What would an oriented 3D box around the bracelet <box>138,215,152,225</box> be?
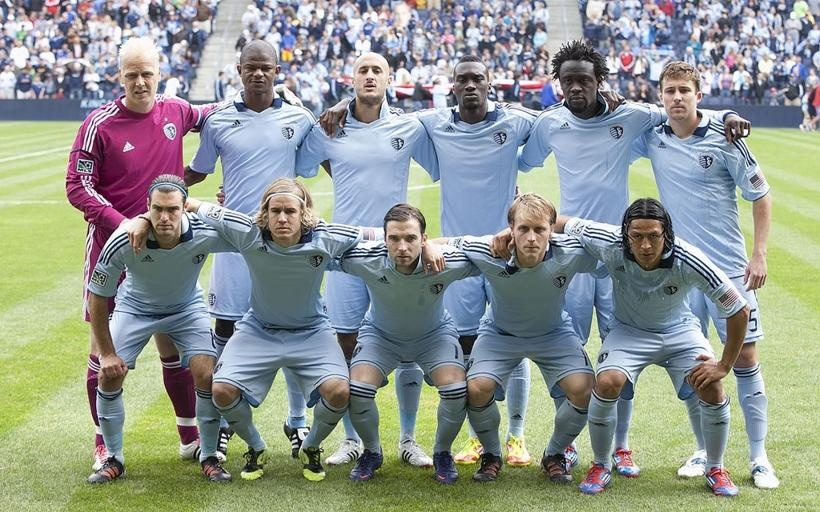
[{"bbox_3d":[-2.695,-0.372,10.251,0.126,0.085,0.061,5,11,20],"label":"bracelet"}]
